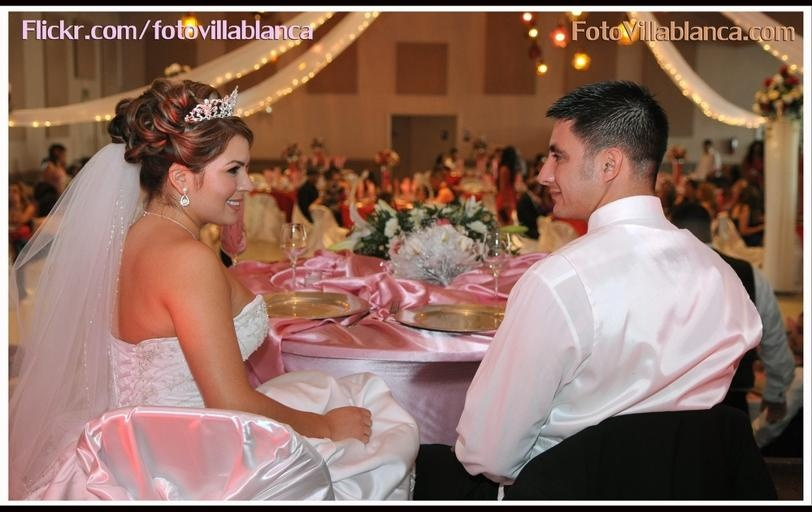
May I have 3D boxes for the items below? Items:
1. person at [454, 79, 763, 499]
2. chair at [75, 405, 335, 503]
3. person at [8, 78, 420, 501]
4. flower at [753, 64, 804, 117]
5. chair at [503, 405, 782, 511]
[{"bbox_3d":[0.708,0.137,2.472,1.076,1.398,0.803,-4,13,-19],"label":"person"},{"bbox_3d":[-0.623,0.575,1.951,0.473,0.326,0.149,7,55,1],"label":"chair"},{"bbox_3d":[-0.804,0.155,2.407,1.580,1.556,0.739,3,11,-1],"label":"person"},{"bbox_3d":[3.316,-1.458,5.949,0.354,0.491,0.574,8,11,25],"label":"flower"},{"bbox_3d":[0.725,0.549,2.008,0.500,0.169,0.343,-5,-3,-8],"label":"chair"}]
